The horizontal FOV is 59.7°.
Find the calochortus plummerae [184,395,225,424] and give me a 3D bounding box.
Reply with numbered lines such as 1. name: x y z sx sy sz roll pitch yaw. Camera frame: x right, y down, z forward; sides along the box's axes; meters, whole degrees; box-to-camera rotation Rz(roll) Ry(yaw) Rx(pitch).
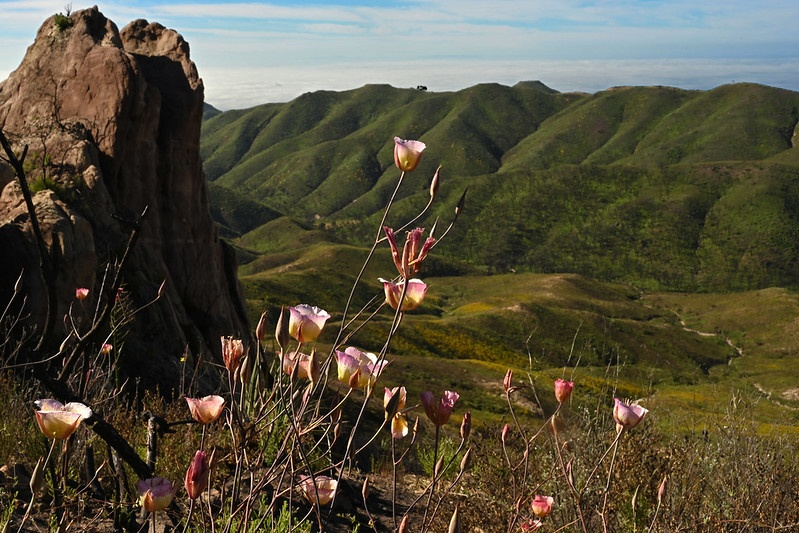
1. calochortus plummerae: -1.606 1.175 5.769 0.278 0.195 0.236 -2 -14 15
